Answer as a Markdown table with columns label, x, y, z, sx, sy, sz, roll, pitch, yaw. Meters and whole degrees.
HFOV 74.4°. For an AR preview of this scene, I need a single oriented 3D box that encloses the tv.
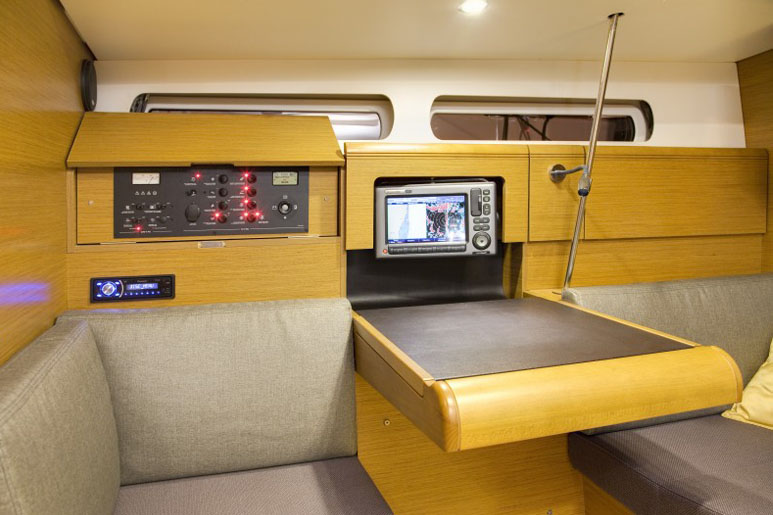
| label | x | y | z | sx | sy | sz | roll | pitch | yaw |
| --- | --- | --- | --- | --- | --- | --- | --- | --- | --- |
| tv | 0.190 | -0.160 | 2.110 | 0.408 | 0.213 | 0.075 | -1 | -1 | -3 |
